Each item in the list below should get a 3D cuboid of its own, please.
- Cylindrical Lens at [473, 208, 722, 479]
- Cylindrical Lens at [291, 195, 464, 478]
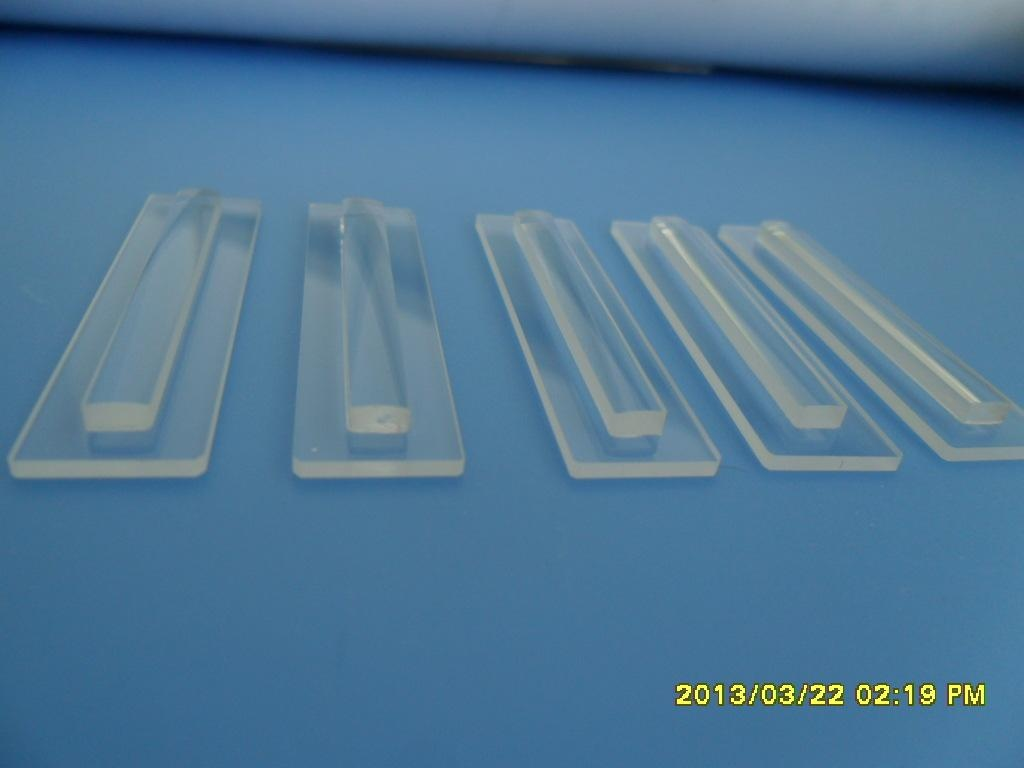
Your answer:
[{"bbox_3d":[0.078,-0.078,0.936,0.216,0.437,0.042,0,-45,-7],"label":"Cylindrical Lens"},{"bbox_3d":[-0.149,-0.088,0.905,0.180,0.442,0.054,0,-45,-6],"label":"Cylindrical Lens"}]
